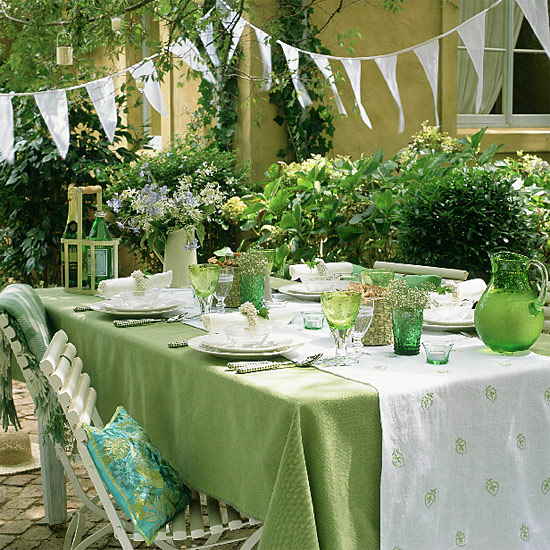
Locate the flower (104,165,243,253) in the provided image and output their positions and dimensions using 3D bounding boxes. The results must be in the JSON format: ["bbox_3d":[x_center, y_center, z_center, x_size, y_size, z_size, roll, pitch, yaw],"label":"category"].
[{"bbox_3d":[-0.563,-0.406,4.120,0.607,0.536,0.667,3,17,6],"label":"flower"}]

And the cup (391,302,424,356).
[{"bbox_3d":[0.334,0.128,1.903,0.077,0.138,0.078,-2,8,0],"label":"cup"}]

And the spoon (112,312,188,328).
[{"bbox_3d":[-0.396,0.136,2.330,0.030,0.033,0.218,10,4,40],"label":"spoon"}]

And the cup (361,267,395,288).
[{"bbox_3d":[0.302,-0.006,2.204,0.065,0.054,0.061,0,6,0],"label":"cup"}]

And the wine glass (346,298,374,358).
[{"bbox_3d":[0.208,0.129,1.896,0.068,0.139,0.085,-1,5,-3],"label":"wine glass"}]

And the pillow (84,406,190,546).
[{"bbox_3d":[-0.331,0.478,1.793,0.072,0.258,0.250,-33,-10,12],"label":"pillow"}]

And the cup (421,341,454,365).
[{"bbox_3d":[0.386,0.177,1.808,0.054,0.044,0.054,1,4,0],"label":"cup"}]

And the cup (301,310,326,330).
[{"bbox_3d":[0.107,0.124,2.217,0.051,0.041,0.053,0,11,0],"label":"cup"}]

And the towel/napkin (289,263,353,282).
[{"bbox_3d":[0.188,-0.021,2.829,0.276,0.066,0.216,-4,4,-14],"label":"towel/napkin"}]

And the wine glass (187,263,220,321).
[{"bbox_3d":[-0.215,0.037,2.370,0.083,0.162,0.097,5,13,26],"label":"wine glass"}]

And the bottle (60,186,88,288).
[{"bbox_3d":[-0.792,-0.161,2.964,0.124,0.416,0.189,-3,4,-9],"label":"bottle"}]

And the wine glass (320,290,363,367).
[{"bbox_3d":[0.169,0.113,1.840,0.093,0.204,0.109,11,15,28],"label":"wine glass"}]
